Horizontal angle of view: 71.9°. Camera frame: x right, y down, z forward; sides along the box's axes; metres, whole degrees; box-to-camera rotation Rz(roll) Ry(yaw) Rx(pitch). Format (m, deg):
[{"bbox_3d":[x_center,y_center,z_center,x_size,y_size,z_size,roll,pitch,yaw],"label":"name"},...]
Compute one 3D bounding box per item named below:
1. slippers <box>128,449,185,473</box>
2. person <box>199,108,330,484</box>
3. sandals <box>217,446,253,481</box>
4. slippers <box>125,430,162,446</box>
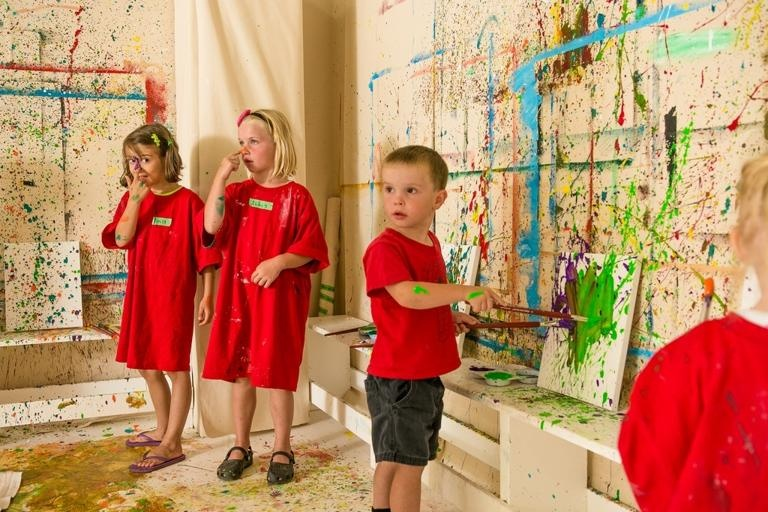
[{"bbox_3d":[-1.054,0.937,2.466,0.188,0.045,0.076,1,-2,-39],"label":"slippers"},{"bbox_3d":[-0.497,0.085,2.592,0.606,1.879,0.482,1,1,30],"label":"person"},{"bbox_3d":[-0.684,0.943,2.416,0.073,0.080,0.206,-2,-5,15],"label":"sandals"},{"bbox_3d":[-1.218,0.915,2.678,0.139,0.037,0.077,5,-4,-13],"label":"slippers"}]
